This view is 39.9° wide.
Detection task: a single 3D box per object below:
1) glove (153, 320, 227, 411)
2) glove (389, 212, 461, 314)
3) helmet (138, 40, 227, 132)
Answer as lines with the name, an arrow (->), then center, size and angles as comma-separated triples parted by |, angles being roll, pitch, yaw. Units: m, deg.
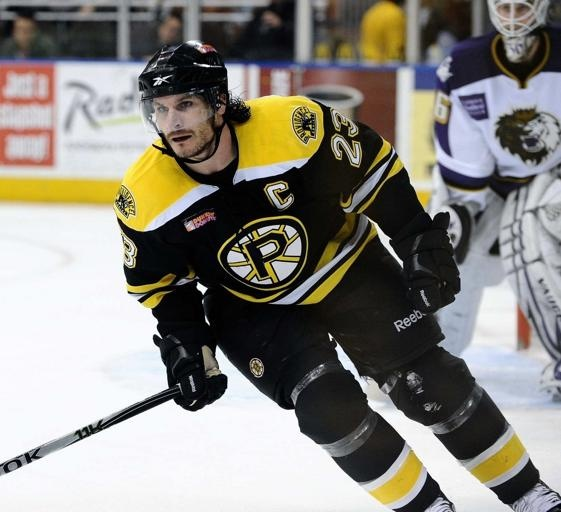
glove -> -0.220, 0.272, 1.951 | 0.230, 0.138, 0.085 | 50, 22, 21
glove -> 0.355, 0.020, 1.921 | 0.195, 0.209, 0.081 | -16, -10, -8
helmet -> -0.238, -0.410, 1.876 | 0.216, 0.200, 0.201 | -5, 20, -2
